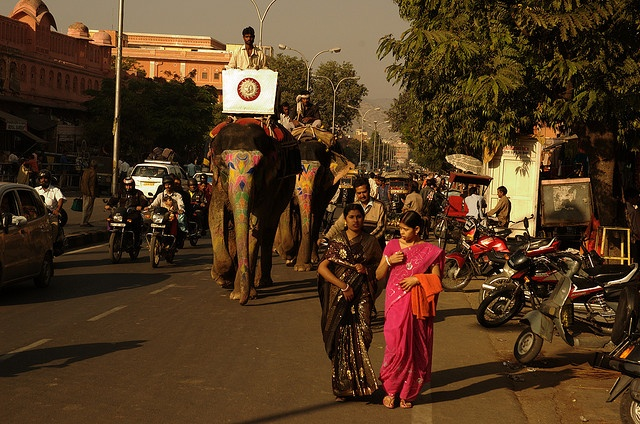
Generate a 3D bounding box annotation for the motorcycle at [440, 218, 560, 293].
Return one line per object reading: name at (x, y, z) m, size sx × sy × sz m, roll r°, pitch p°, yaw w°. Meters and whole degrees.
motorcycle at (3.947, 0.933, 13.804) m, size 2.233 × 1.514 × 1.447 m, roll -4°, pitch 17°, yaw -8°

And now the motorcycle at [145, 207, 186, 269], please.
motorcycle at (-3.925, 0.624, 15.322) m, size 0.451 × 1.440 × 1.195 m, roll 4°, pitch 6°, yaw 15°

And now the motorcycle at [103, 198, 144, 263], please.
motorcycle at (-5.043, 0.365, 15.916) m, size 0.827 × 1.339 × 2.115 m, roll 5°, pitch 8°, yaw -5°

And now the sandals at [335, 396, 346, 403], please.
sandals at (0.237, 2.193, 7.169) m, size 0.118 × 0.088 × 0.058 m, roll 2°, pitch 15°, yaw 4°

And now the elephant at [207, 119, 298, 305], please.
elephant at (-1.421, -0.092, 11.858) m, size 1.363 × 3.461 × 2.340 m, roll 3°, pitch 5°, yaw 8°

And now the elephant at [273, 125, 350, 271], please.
elephant at (-0.240, -0.723, 17.540) m, size 2.074 × 3.153 × 5.469 m, roll 4°, pitch 12°, yaw 5°

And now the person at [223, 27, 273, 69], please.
person at (-1.507, -3.329, 12.757) m, size 0.819 × 0.949 × 0.616 m, roll 0°, pitch 14°, yaw -10°

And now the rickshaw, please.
rickshaw at (4.915, -0.151, 20.946) m, size 1.458 × 2.928 × 4.578 m, roll 1°, pitch -1°, yaw 3°

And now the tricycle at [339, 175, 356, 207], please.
tricycle at (1.822, -1.744, 41.375) m, size 1.035 × 1.637 × 1.812 m, roll -4°, pitch 1°, yaw -2°
